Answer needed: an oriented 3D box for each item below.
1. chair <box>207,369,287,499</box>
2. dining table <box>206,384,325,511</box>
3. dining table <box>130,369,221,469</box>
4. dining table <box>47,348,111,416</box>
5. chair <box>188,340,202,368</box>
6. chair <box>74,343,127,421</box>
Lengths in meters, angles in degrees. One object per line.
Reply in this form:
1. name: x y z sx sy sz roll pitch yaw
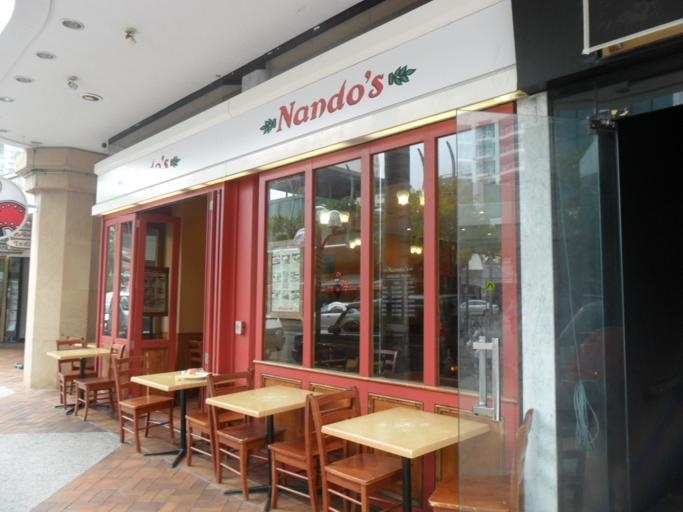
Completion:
1. chair: -0.990 1.837 6.090 0.714 1.122 0.758 -1 2 -36
2. dining table: -0.884 1.846 5.861 1.102 1.105 1.102 0 -1 -44
3. dining table: -2.095 1.868 6.932 1.124 1.128 1.125 -3 -4 45
4. dining table: -4.153 1.874 9.129 0.991 0.988 0.993 3 -5 -42
5. chair: -2.452 1.649 9.622 0.198 0.419 0.487 -1 -3 -17
6. chair: -3.664 1.890 8.667 0.605 1.011 0.534 2 -5 -35
